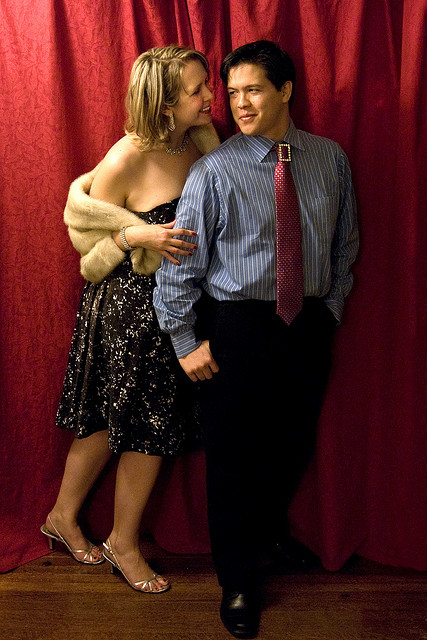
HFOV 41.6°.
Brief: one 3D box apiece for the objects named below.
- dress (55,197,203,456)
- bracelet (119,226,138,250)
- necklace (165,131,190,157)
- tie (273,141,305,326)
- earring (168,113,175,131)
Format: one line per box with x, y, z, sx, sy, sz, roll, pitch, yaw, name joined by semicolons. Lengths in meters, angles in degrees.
-0.238;0.059;1.631;0.339;0.772;0.298;-11;25;-31;dress
-0.221;-0.214;1.471;0.012;0.047;0.052;-24;47;12;bracelet
-0.104;-0.475;1.575;0.015;0.069;0.090;34;44;20;necklace
0.181;-0.206;1.370;0.078;0.394;0.209;-4;31;10;tie
-0.111;-0.523;1.480;0.018;0.046;0.017;-10;30;-1;earring
